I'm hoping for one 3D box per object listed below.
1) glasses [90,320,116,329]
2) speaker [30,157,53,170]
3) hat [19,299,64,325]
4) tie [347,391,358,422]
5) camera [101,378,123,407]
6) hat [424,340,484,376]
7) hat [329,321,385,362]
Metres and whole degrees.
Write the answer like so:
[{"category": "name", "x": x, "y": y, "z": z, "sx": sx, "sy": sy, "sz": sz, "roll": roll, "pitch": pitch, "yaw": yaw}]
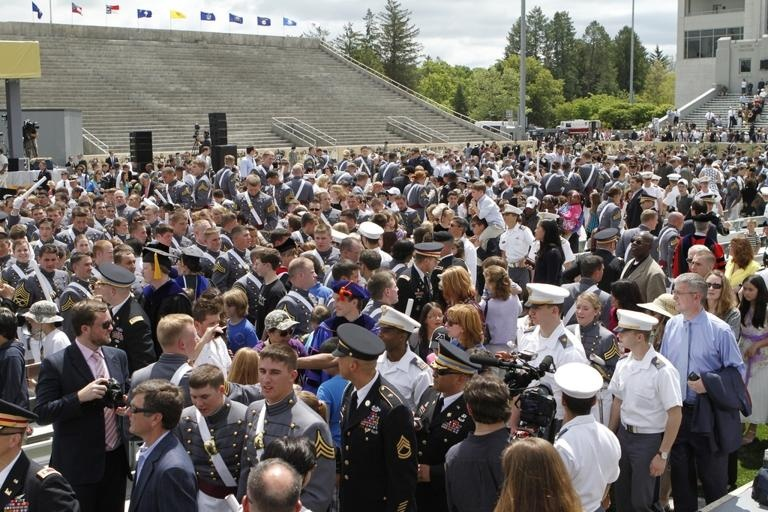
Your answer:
[{"category": "glasses", "x": -5.536, "y": 1.338, "z": 24.947, "sx": 0.351, "sy": 0.222, "sz": 0.112, "roll": -5, "pitch": 8, "yaw": -42}, {"category": "speaker", "x": -12.071, "y": -3.308, "z": 44.261, "sx": 0.792, "sy": 0.486, "sz": 0.763, "roll": -1, "pitch": 5, "yaw": -18}, {"category": "hat", "x": -7.166, "y": 1.177, "z": 26.556, "sx": 0.585, "sy": 0.252, "sz": 0.573, "roll": 1, "pitch": 1, "yaw": 32}, {"category": "tie", "x": -0.626, "y": 2.850, "z": 24.178, "sx": 0.175, "sy": 0.519, "sz": 0.225, "roll": -3, "pitch": 7, "yaw": -26}, {"category": "camera", "x": -5.284, "y": 2.666, "z": 24.783, "sx": 0.480, "sy": 0.467, "sz": 0.460, "roll": 4, "pitch": 6, "yaw": 29}, {"category": "hat", "x": 1.407, "y": 2.005, "z": 24.550, "sx": 0.787, "sy": 0.343, "sz": 0.644, "roll": 20, "pitch": 2, "yaw": 0}, {"category": "hat", "x": -0.495, "y": 1.648, "z": 24.146, "sx": 0.786, "sy": 0.347, "sz": 0.703, "roll": 13, "pitch": 20, "yaw": 11}]
